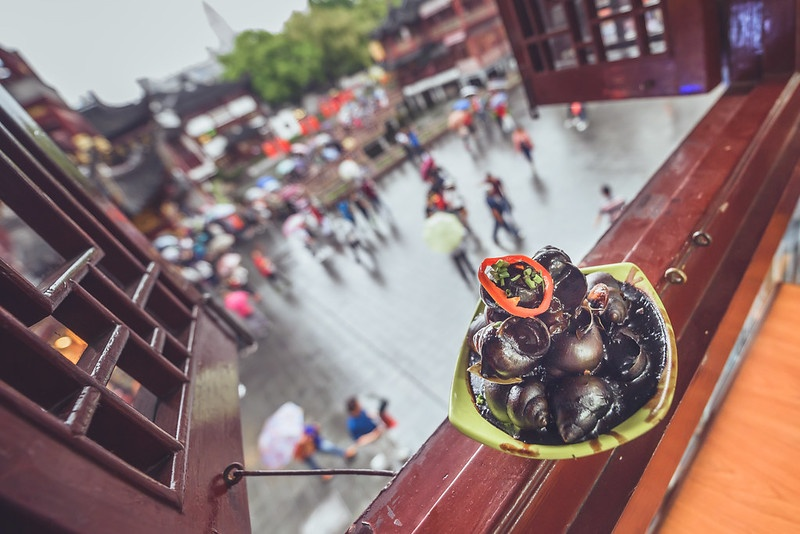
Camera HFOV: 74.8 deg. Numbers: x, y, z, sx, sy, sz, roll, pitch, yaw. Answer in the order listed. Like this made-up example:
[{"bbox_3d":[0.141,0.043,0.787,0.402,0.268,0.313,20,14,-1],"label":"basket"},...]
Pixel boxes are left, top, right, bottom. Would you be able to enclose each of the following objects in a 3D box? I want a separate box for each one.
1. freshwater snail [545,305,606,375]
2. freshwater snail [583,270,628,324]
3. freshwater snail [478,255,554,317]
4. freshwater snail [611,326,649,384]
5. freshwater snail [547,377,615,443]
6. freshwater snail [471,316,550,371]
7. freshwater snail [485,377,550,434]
[{"bbox_3d":[0.820,0.354,2.482,0.233,0.320,0.177,-6,32,-26],"label":"freshwater snail"},{"bbox_3d":[1.044,0.098,2.667,0.236,0.128,0.324,-13,28,27],"label":"freshwater snail"},{"bbox_3d":[0.547,0.019,2.558,0.309,0.242,0.081,6,53,-11],"label":"freshwater snail"},{"bbox_3d":[1.082,0.420,2.487,0.149,0.142,0.220,2,72,6],"label":"freshwater snail"},{"bbox_3d":[0.849,0.644,2.429,0.287,0.199,0.197,-20,33,6],"label":"freshwater snail"},{"bbox_3d":[0.530,0.353,2.472,0.291,0.247,0.234,-16,75,13],"label":"freshwater snail"},{"bbox_3d":[0.556,0.650,2.452,0.263,0.213,0.098,17,6,14],"label":"freshwater snail"}]
